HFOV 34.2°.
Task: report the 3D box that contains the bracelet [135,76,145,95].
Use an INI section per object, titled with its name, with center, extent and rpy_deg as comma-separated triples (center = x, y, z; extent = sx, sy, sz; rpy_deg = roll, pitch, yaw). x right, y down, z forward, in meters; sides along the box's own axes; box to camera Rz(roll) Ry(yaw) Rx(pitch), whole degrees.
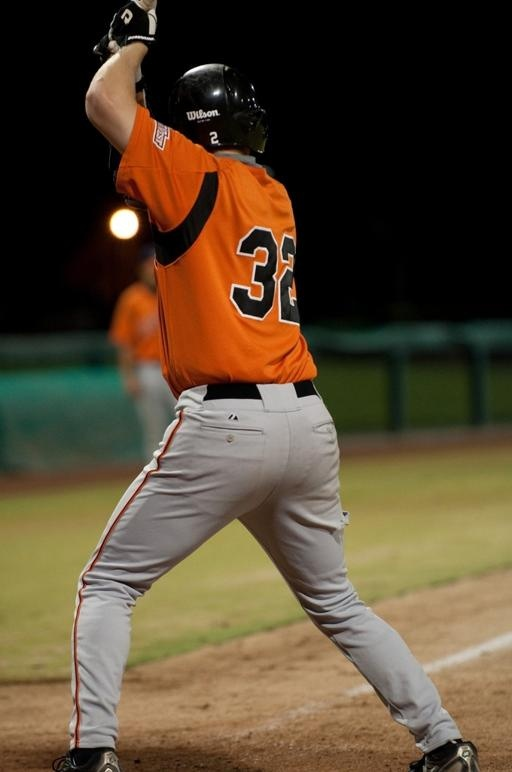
[bracelet]
center = -0.271, -0.712, 1.957
extent = 0.030, 0.031, 0.036
rpy_deg = -7, 3, -7

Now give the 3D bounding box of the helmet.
[helmet]
center = -0.096, -0.711, 2.124
extent = 0.272, 0.201, 0.187
rpy_deg = 0, 20, -5
